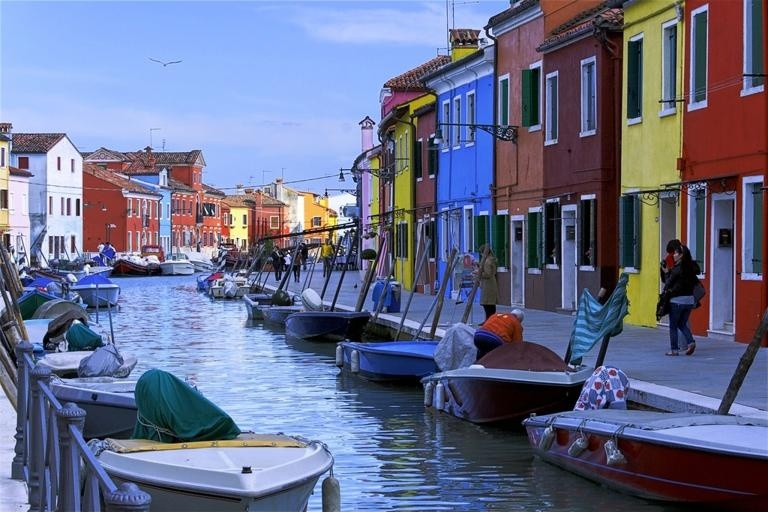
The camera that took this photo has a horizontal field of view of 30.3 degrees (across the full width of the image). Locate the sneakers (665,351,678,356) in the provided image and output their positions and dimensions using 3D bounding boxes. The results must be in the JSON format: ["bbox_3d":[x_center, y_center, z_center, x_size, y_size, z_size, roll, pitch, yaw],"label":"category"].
[{"bbox_3d":[6.309,2.103,30.714,0.273,0.100,0.196,0,1,12],"label":"sneakers"}]

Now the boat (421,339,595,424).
[{"bbox_3d":[2.468,2.561,28.292,3.275,1.702,0.925,1,2,38],"label":"boat"}]

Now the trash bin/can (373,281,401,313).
[{"bbox_3d":[0.125,1.200,42.747,0.954,0.970,0.815,4,3,-41],"label":"trash bin/can"}]

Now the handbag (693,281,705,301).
[{"bbox_3d":[6.925,0.773,30.830,0.209,0.423,0.576,1,2,13],"label":"handbag"}]

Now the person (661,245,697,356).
[{"bbox_3d":[6.484,0.985,30.711,0.752,2.334,0.418,1,2,12],"label":"person"}]

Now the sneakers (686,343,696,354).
[{"bbox_3d":[6.734,2.008,30.793,0.140,0.347,0.141,5,28,-12],"label":"sneakers"}]

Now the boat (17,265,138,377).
[{"bbox_3d":[-8.616,1.768,39.533,2.545,2.727,8.033,-1,2,-14],"label":"boat"}]

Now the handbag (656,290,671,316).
[{"bbox_3d":[6.128,1.054,30.860,0.169,0.469,0.362,5,1,-11],"label":"handbag"}]
